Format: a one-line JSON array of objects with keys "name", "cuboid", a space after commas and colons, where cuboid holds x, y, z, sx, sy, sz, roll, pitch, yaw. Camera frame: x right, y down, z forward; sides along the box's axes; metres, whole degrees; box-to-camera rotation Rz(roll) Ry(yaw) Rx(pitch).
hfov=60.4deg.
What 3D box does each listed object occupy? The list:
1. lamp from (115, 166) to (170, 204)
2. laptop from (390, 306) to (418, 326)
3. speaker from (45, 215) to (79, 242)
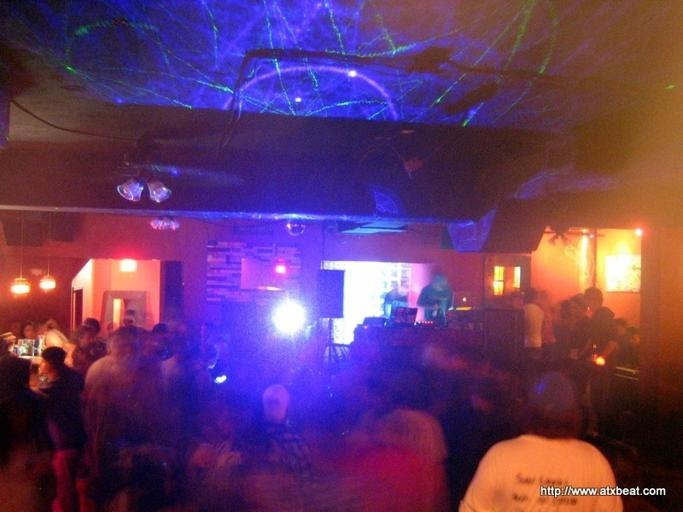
[{"name": "lamp", "cuboid": [-1.571, -0.539, 4.779, 0.452, 0.265, 0.435, 2, 30, -7]}, {"name": "laptop", "cuboid": [0.782, 0.781, 7.622, 0.274, 0.238, 0.208, 4, 6, -1]}, {"name": "speaker", "cuboid": [-3.826, -0.383, 8.079, 0.401, 0.381, 0.395, 0, 10, -32]}]
